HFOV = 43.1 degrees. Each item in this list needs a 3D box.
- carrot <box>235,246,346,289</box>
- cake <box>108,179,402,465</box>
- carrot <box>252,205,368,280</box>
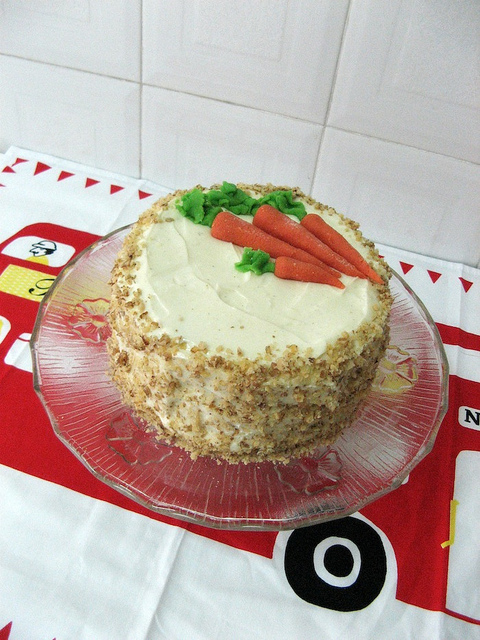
[{"bbox_3d":[0.132,-0.141,1.680,0.355,0.073,0.076,20,-1,39],"label":"carrot"},{"bbox_3d":[0.028,-0.002,1.739,0.780,0.477,0.748,7,39,-3],"label":"cake"},{"bbox_3d":[0.192,-0.219,1.755,0.421,0.073,0.077,26,28,17],"label":"carrot"}]
